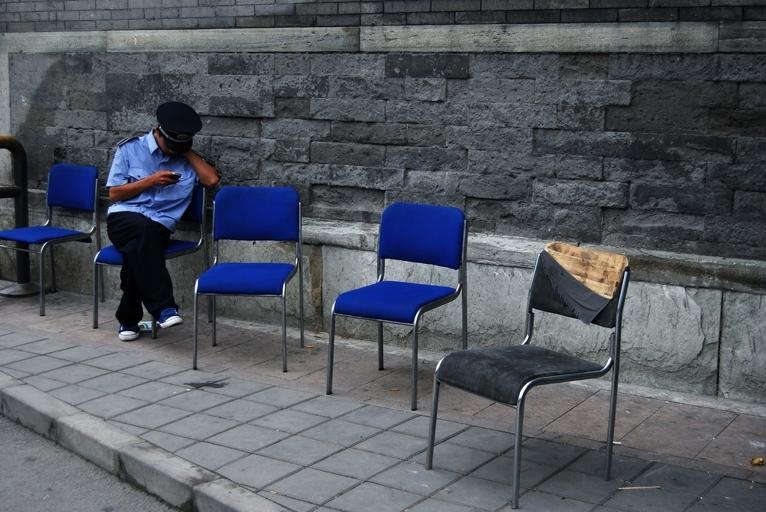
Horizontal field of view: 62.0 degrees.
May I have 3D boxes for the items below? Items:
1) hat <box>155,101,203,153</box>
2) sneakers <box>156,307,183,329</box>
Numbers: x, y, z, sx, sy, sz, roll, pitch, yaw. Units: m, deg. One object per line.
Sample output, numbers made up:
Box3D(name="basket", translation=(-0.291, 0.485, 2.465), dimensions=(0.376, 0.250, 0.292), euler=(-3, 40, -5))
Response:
Box3D(name="hat", translation=(-1.835, -1.138, 5.754), dimensions=(0.379, 0.179, 0.352), euler=(-6, 50, -21))
Box3D(name="sneakers", translation=(-1.804, 0.518, 5.406), dimensions=(0.135, 0.091, 0.290), euler=(1, -7, -34))
